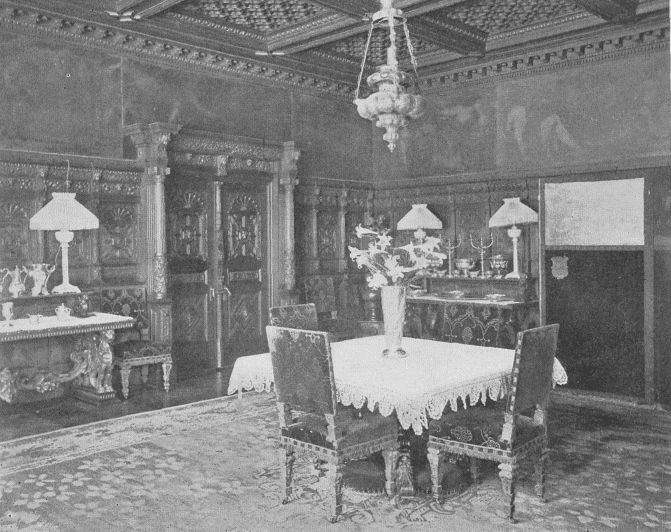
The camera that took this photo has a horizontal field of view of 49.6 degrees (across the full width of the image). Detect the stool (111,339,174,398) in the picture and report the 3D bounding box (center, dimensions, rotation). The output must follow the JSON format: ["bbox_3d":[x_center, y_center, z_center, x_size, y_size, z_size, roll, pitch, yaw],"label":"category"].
[{"bbox_3d":[-2.047,1.063,7.682,0.505,0.530,0.513,2,-5,-35],"label":"stool"}]

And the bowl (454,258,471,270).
[{"bbox_3d":[1.491,-0.021,8.503,0.120,0.091,0.126,-1,8,0],"label":"bowl"}]

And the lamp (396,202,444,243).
[{"bbox_3d":[1.008,-0.642,8.831,0.404,0.498,0.281,9,-25,6],"label":"lamp"}]

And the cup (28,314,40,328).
[{"bbox_3d":[-2.900,0.524,7.025,0.107,0.135,0.099,2,-4,0],"label":"cup"}]

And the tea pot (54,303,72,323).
[{"bbox_3d":[-2.701,0.462,7.214,0.171,0.208,0.128,2,-6,-29],"label":"tea pot"}]

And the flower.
[{"bbox_3d":[0.424,-0.063,5.881,0.817,0.650,0.797,-6,5,-45],"label":"flower"}]

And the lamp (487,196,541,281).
[{"bbox_3d":[2.063,-0.326,8.364,0.437,0.812,0.492,-1,-3,13],"label":"lamp"}]

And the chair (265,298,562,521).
[{"bbox_3d":[0.563,0.783,5.407,1.401,0.932,1.523,0,2,28],"label":"chair"}]
